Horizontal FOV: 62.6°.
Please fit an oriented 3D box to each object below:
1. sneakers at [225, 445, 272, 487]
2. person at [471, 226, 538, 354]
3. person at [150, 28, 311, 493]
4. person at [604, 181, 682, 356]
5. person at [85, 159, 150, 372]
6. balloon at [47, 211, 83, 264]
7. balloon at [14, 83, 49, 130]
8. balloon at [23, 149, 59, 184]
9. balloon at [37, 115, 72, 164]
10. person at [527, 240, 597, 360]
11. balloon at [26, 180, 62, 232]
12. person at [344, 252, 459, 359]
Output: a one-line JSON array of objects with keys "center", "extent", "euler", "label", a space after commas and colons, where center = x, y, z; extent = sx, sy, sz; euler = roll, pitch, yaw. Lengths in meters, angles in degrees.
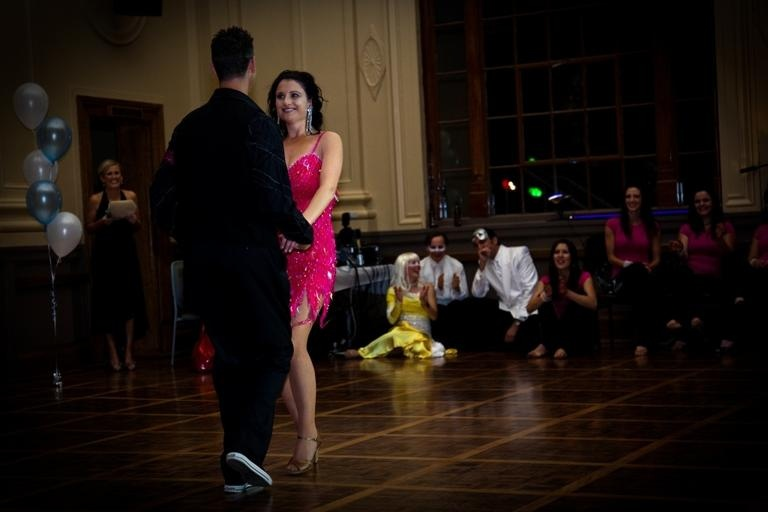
[{"center": [-0.575, 0.906, 2.674], "extent": [0.181, 0.164, 0.140], "euler": [-3, 1, -16], "label": "sneakers"}, {"center": [1.228, 0.440, 6.340], "extent": [0.584, 1.449, 0.522], "euler": [-9, 7, 24], "label": "person"}, {"center": [-0.639, 0.018, 2.704], "extent": [0.656, 1.954, 0.231], "euler": [-3, 1, 6], "label": "person"}, {"center": [2.315, 0.089, 5.844], "extent": [0.501, 1.198, 0.855], "euler": [-3, 1, 20], "label": "person"}, {"center": [-2.681, 0.078, 6.341], "extent": [0.491, 2.243, 0.576], "euler": [-3, 1, -22], "label": "person"}, {"center": [-2.851, -0.147, 5.622], "extent": [0.298, 0.492, 0.323], "euler": [4, -12, -8], "label": "balloon"}, {"center": [-3.075, -1.298, 5.510], "extent": [0.290, 0.401, 0.239], "euler": [-9, 10, -43], "label": "balloon"}, {"center": [-2.994, -0.788, 5.590], "extent": [0.273, 0.347, 0.281], "euler": [-3, 9, -6], "label": "balloon"}, {"center": [-2.883, -1.011, 5.517], "extent": [0.311, 0.412, 0.317], "euler": [-3, -4, 9], "label": "balloon"}, {"center": [1.584, 0.375, 5.669], "extent": [0.607, 0.855, 0.394], "euler": [-3, 1, 15], "label": "person"}, {"center": [-2.936, -0.445, 5.433], "extent": [0.279, 0.422, 0.212], "euler": [-3, 1, -9], "label": "balloon"}, {"center": [0.161, 0.473, 6.200], "extent": [1.077, 1.057, 0.706], "euler": [0, 1, -4], "label": "person"}]
